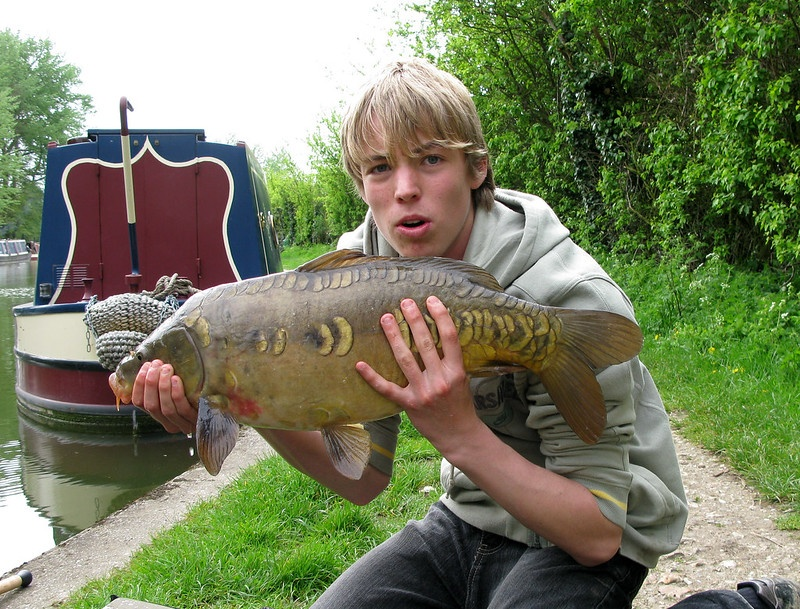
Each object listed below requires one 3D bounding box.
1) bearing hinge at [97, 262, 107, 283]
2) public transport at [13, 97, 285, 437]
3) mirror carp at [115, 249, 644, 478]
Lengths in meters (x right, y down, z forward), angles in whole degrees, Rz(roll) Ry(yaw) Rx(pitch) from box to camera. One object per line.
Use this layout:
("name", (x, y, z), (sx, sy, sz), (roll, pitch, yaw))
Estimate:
("bearing hinge", (-3.740, -0.421, 8.516), (0.152, 0.246, 0.055), (3, -3, -8))
("public transport", (-3.557, -0.935, 10.145), (3.233, 3.867, 5.784), (-5, 16, -13))
("mirror carp", (-0.501, 0.299, 3.171), (2.896, 1.262, 0.724), (-2, -7, 6))
